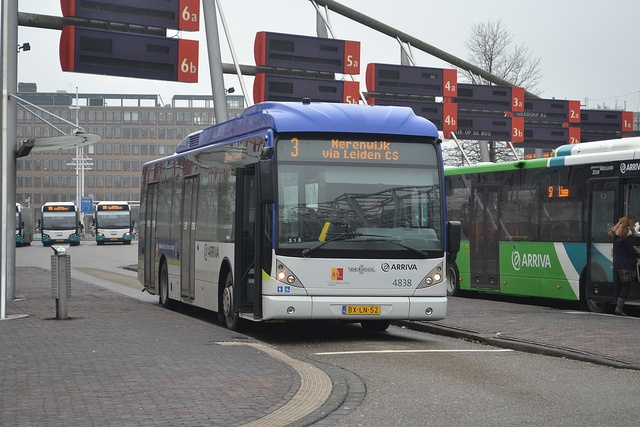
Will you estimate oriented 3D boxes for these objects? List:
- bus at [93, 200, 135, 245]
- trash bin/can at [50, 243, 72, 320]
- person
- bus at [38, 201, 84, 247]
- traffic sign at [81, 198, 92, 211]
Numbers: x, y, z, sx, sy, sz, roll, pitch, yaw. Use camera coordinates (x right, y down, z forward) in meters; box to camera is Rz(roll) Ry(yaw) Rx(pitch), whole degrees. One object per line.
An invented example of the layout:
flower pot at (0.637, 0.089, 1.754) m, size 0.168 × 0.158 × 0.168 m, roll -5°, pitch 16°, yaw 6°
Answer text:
bus at (-20.401, 0.844, 65.735) m, size 3.158 × 4.135 × 2.839 m, roll 0°, pitch 1°, yaw -33°
trash bin/can at (-5.290, 1.405, 13.581) m, size 0.303 × 1.534 × 0.415 m, roll 0°, pitch 1°, yaw -24°
person at (6.837, 1.205, 15.143) m, size 0.600 × 2.248 × 0.371 m, roll 1°, pitch 1°, yaw 17°
bus at (-24.877, 0.771, 62.811) m, size 3.421 × 4.092 × 9.425 m, roll 0°, pitch -7°, yaw -12°
traffic sign at (-37.398, -1.471, 106.964) m, size 1.950 × 2.201 × 1.124 m, roll 2°, pitch 5°, yaw 14°
